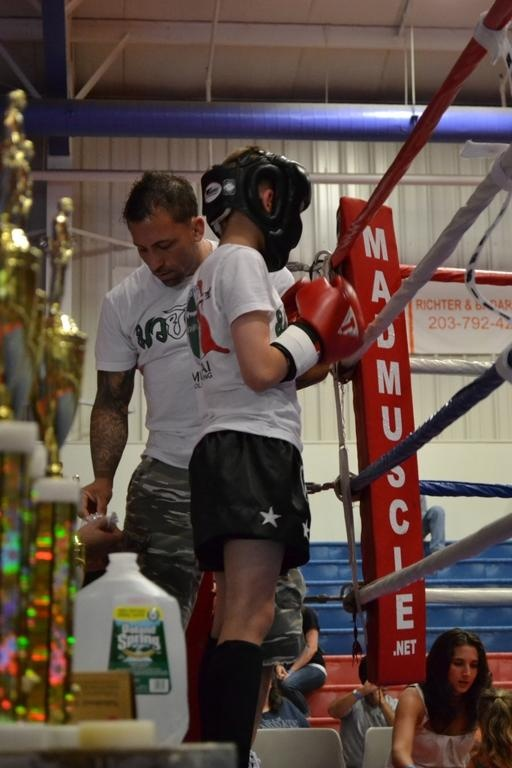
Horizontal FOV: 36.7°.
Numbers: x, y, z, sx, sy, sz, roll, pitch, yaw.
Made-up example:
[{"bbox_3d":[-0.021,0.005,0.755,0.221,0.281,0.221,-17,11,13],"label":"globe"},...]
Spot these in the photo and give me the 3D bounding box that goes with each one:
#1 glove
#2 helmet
[{"bbox_3d":[0.122,-0.094,1.321,0.136,0.157,0.150,-2,0,-29],"label":"glove"},{"bbox_3d":[0.005,-0.310,1.482,0.234,0.209,0.185,0,-5,-19],"label":"helmet"}]
